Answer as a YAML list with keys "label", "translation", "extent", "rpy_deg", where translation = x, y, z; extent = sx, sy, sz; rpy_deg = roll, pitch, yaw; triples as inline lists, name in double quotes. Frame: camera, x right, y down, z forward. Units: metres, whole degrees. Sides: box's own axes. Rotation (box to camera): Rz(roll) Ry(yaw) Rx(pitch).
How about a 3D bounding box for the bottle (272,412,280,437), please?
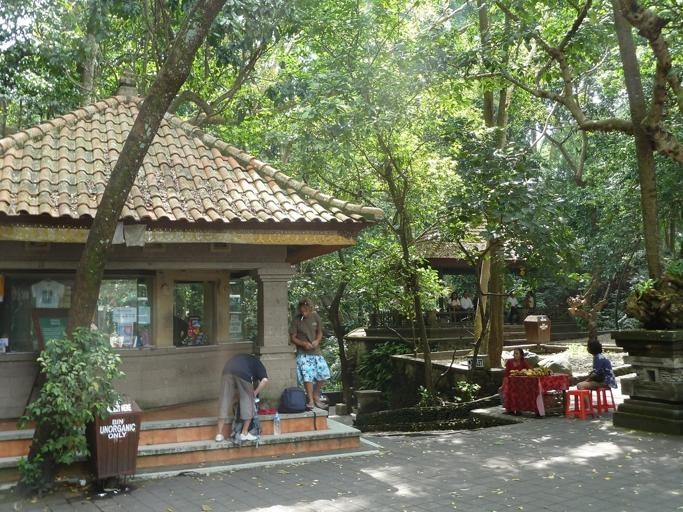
- label: "bottle"
  translation: [-1.219, 3.178, 12.599]
  extent: [0.143, 0.372, 0.242]
  rpy_deg: [-1, 2, -6]

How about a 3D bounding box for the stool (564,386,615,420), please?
- label: "stool"
  translation: [5.601, 3.356, 15.289]
  extent: [0.866, 0.720, 0.865]
  rpy_deg: [-1, -1, -38]

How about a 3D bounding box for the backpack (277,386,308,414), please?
- label: "backpack"
  translation: [-0.951, 2.813, 13.022]
  extent: [0.497, 0.492, 0.481]
  rpy_deg: [9, -17, -35]

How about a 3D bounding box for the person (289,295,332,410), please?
- label: "person"
  translation: [-0.702, 2.090, 13.961]
  extent: [0.771, 2.388, 1.090]
  rpy_deg: [0, 2, 13]

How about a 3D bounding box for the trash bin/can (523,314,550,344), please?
- label: "trash bin/can"
  translation: [8.023, 2.952, 27.111]
  extent: [1.046, 1.504, 1.069]
  rpy_deg: [-1, -3, 0]

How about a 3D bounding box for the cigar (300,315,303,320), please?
- label: "cigar"
  translation: [-0.850, 1.290, 14.065]
  extent: [0.114, 0.081, 0.042]
  rpy_deg: [-2, -11, -5]

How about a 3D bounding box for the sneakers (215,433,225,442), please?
- label: "sneakers"
  translation: [-2.231, 3.292, 12.158]
  extent: [0.146, 0.142, 0.200]
  rpy_deg: [-1, 1, -11]

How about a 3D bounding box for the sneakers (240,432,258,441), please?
- label: "sneakers"
  translation: [-1.704, 3.307, 12.220]
  extent: [0.334, 0.151, 0.129]
  rpy_deg: [2, -1, -17]

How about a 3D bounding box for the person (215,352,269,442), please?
- label: "person"
  translation: [-1.848, 2.602, 12.255]
  extent: [0.922, 1.538, 0.407]
  rpy_deg: [-1, 2, -7]

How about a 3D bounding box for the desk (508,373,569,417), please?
- label: "desk"
  translation: [4.488, 3.197, 15.470]
  extent: [1.385, 1.053, 0.730]
  rpy_deg: [0, 2, 15]
